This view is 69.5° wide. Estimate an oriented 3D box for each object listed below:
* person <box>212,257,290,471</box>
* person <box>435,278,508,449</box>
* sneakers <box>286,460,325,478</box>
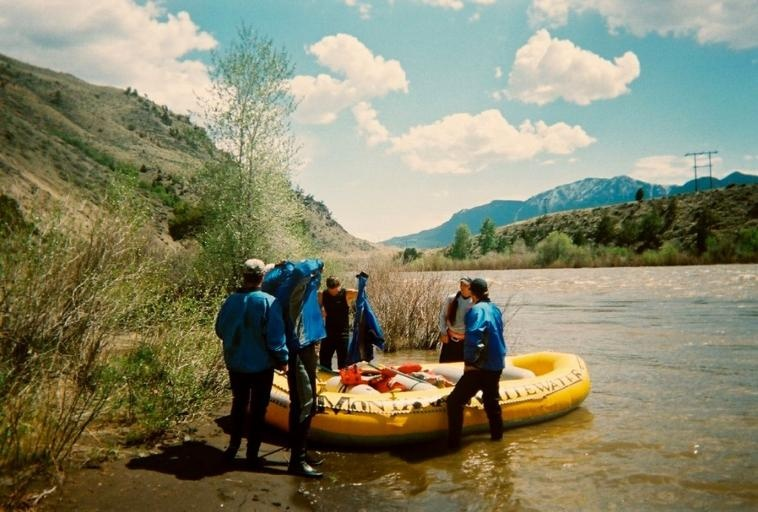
[{"bbox_3d":[-1.939,1.699,8.325,1.107,3.204,0.429,-3,-3,12],"label":"person"},{"bbox_3d":[1.627,1.898,9.248,0.992,2.925,0.964,-3,-3,8],"label":"person"},{"bbox_3d":[-1.153,3.386,8.472,0.619,0.250,0.214,0,-1,7],"label":"sneakers"}]
